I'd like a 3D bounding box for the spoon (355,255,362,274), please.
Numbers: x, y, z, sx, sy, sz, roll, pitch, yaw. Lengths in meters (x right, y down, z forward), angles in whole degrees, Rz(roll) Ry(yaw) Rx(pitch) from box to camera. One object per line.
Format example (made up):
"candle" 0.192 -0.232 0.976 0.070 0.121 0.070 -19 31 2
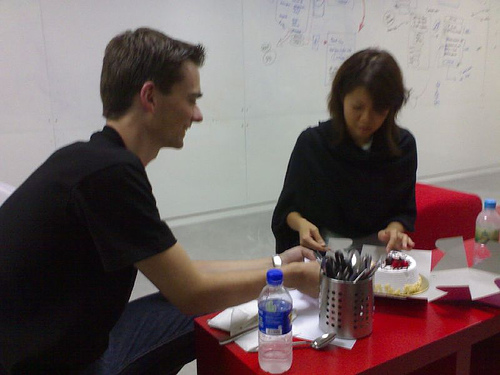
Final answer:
"spoon" 0.306 0.217 1.068 0.007 0.046 0.011 13 9 -39

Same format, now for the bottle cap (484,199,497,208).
"bottle cap" 1.034 0.058 1.629 0.037 0.032 0.041 0 4 5

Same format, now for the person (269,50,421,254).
"person" 0.491 -0.138 1.856 0.683 1.064 0.649 -1 25 5

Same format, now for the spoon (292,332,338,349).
"spoon" 0.177 0.425 1.042 0.148 0.031 0.047 -8 39 17

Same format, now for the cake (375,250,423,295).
"cake" 0.498 0.276 1.292 0.158 0.070 0.174 -15 19 -5

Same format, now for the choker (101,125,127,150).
"choker" -0.385 -0.146 1.066 0.027 0.067 0.052 -47 31 4

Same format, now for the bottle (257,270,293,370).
"bottle" 0.063 0.341 0.954 0.086 0.200 0.101 -3 12 6

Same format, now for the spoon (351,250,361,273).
"spoon" 0.309 0.211 1.098 0.009 0.023 0.070 -4 35 31

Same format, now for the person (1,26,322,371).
"person" -0.311 0.101 1.172 0.822 1.130 0.493 -3 12 4

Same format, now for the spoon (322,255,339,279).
"spoon" 0.227 0.219 1.064 0.049 0.044 0.052 6 16 39

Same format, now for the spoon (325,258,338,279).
"spoon" 0.228 0.220 1.059 0.036 0.043 0.051 1 14 24

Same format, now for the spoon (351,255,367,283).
"spoon" 0.301 0.223 1.045 0.024 0.017 0.095 15 47 25
